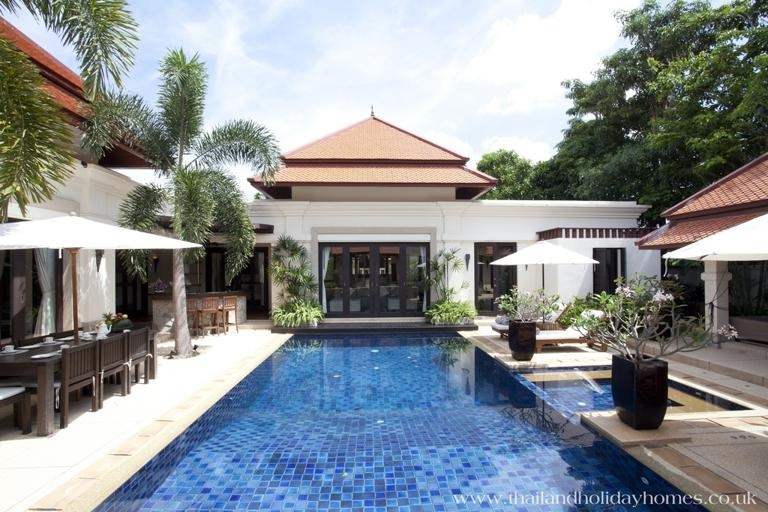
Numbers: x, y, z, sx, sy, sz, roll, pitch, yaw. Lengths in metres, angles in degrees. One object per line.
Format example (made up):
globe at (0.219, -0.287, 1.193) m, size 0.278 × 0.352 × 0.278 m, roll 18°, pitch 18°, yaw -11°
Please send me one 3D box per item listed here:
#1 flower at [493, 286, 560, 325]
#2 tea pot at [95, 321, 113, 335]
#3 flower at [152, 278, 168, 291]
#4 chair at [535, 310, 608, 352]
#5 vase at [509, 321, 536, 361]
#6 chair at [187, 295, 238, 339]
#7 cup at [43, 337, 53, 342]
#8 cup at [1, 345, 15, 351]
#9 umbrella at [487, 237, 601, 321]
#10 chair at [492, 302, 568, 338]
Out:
flower at (4.943, 1.643, 17.908) m, size 1.715 × 1.170 × 1.719 m, roll 0°, pitch 3°, yaw 3°
tea pot at (-7.254, 1.853, 13.618) m, size 0.307 × 0.425 × 0.433 m, roll 6°, pitch -14°, yaw -34°
flower at (-10.205, 1.217, 23.987) m, size 0.423 × 0.777 × 0.454 m, roll 11°, pitch 9°, yaw 22°
chair at (6.007, 2.399, 17.173) m, size 2.223 × 0.998 × 1.311 m, roll 0°, pitch -1°, yaw 3°
vase at (4.084, 2.469, 15.749) m, size 0.742 × 1.219 × 0.460 m, roll 0°, pitch 15°, yaw 14°
chair at (-6.431, 2.191, 19.549) m, size 1.537 × 0.818 × 0.487 m, roll 2°, pitch 0°, yaw -42°
cup at (-8.504, 2.080, 13.408) m, size 0.140 × 0.086 × 0.191 m, roll -1°, pitch -10°, yaw -8°
cup at (-8.951, 2.163, 12.603) m, size 0.184 × 0.119 × 0.265 m, roll 3°, pitch -7°, yaw -34°
umbrella at (5.434, 0.740, 18.473) m, size 2.696 × 1.920 × 2.596 m, roll -1°, pitch -2°, yaw -1°
chair at (4.956, 2.173, 18.152) m, size 2.204 × 1.005 × 1.320 m, roll 0°, pitch -4°, yaw 6°
